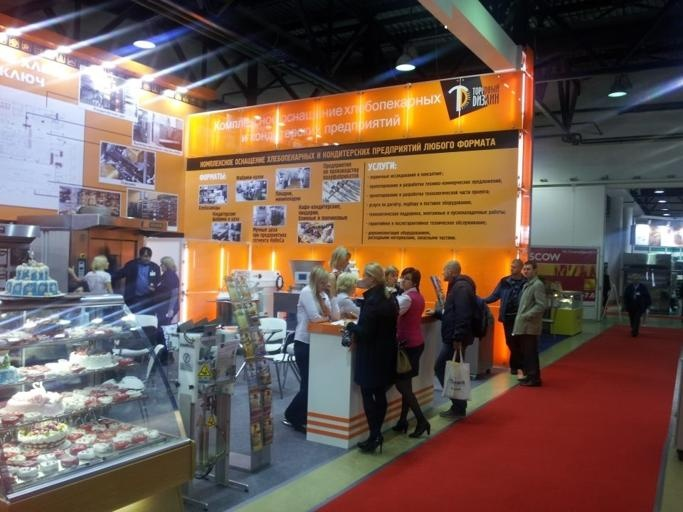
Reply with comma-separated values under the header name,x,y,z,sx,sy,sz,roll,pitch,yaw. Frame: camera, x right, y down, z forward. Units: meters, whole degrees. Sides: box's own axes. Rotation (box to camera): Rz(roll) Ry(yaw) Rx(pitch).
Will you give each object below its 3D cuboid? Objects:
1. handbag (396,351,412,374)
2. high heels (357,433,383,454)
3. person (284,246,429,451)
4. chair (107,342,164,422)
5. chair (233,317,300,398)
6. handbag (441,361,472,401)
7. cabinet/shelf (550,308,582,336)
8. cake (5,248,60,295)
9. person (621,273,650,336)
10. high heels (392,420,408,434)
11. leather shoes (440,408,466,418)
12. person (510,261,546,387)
name,x,y,z,sx,sy,sz,roll,pitch,yaw
handbag,0.620,1.070,5.323,0.129,0.276,0.263,2,-3,12
high heels,0.288,1.816,5.161,0.249,0.133,0.140,-3,-7,29
person,0.283,0.974,5.340,0.670,1.819,0.827,3,3,38
chair,-1.492,0.882,3.889,0.403,0.550,0.430,14,-14,-28
chair,-0.855,1.289,7.092,1.001,1.326,0.955,-1,-7,10
handbag,1.283,1.382,5.911,0.284,0.473,0.207,2,2,11
cabinet/shelf,5.491,1.611,12.961,0.649,0.816,1.228,2,0,31
cake,-2.099,0.159,3.592,0.271,0.228,0.294,2,3,9
person,7.383,1.187,13.272,0.522,1.543,1.871,3,3,29
high heels,0.643,1.834,5.713,0.189,0.142,0.076,5,-1,20
leather shoes,1.291,1.825,6.186,0.301,0.122,0.113,2,-2,10
person,2.675,0.962,7.611,0.427,1.786,0.596,2,2,20
